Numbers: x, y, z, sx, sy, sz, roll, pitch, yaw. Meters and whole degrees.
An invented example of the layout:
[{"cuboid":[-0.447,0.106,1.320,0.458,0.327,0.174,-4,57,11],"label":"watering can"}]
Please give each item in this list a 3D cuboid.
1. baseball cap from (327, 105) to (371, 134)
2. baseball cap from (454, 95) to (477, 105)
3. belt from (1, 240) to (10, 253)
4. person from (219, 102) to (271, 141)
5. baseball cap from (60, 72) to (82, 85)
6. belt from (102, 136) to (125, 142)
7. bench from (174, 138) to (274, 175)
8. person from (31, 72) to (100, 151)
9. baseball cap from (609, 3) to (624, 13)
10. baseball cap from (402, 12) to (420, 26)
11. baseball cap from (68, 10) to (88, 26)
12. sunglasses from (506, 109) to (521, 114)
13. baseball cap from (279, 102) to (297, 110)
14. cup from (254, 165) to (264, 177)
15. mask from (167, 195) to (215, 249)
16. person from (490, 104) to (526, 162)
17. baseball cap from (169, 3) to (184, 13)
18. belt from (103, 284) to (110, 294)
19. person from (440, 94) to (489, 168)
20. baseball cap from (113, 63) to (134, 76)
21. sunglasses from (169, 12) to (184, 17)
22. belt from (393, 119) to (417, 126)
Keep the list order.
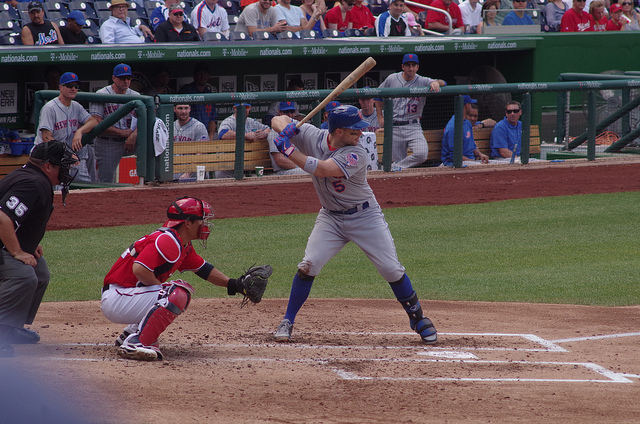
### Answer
[{"cuboid":[0.298,-0.989,10.798,0.528,0.220,0.346,2,13,15],"label":"baseball cap"},{"cuboid":[2.658,-1.999,18.671,0.142,0.172,0.429,3,10,21],"label":"baseball cap"},{"cuboid":[-3.062,0.346,10.221,0.080,0.068,0.055,-5,-22,-1],"label":"belt"},{"cuboid":[-1.237,-1.477,17.184,0.845,0.642,0.371,-8,12,-38],"label":"person"},{"cuboid":[-3.766,-2.016,15.819,0.291,0.135,0.198,-5,-1,27],"label":"baseball cap"},{"cuboid":[-3.236,-1.141,16.456,0.344,0.077,0.050,-1,10,-2],"label":"belt"},{"cuboid":[-1.570,-0.907,17.126,1.792,0.558,0.158,-6,11,-31],"label":"bench"},{"cuboid":[-3.863,-1.521,16.061,0.898,1.187,0.594,-6,11,-26],"label":"person"},{"cuboid":[6.339,-4.352,22.449,0.287,0.194,0.431,1,9,14],"label":"baseball cap"},{"cuboid":[1.786,-3.785,20.644,0.322,0.163,0.212,32,31,11],"label":"baseball cap"},{"cuboid":[-4.131,-3.259,17.851,0.411,0.192,0.249,19,20,-3],"label":"baseball cap"},{"cuboid":[3.461,-1.799,18.841,0.225,0.083,0.127,0,9,4],"label":"sunglasses"},{"cuboid":[-0.527,-1.743,17.293,0.269,0.113,0.233,-3,9,-14],"label":"baseball cap"},{"cuboid":[-1.022,-0.671,17.502,0.185,0.168,0.169,0,4,0],"label":"cup"},{"cuboid":[-1.320,0.099,10.442,0.547,0.494,0.445,3,6,-11],"label":"mask"},{"cuboid":[3.487,-1.443,19.180,0.584,1.073,0.679,-5,10,-21],"label":"person"},{"cuboid":[-2.481,-3.493,18.106,0.255,0.169,0.352,-4,17,-23],"label":"baseball cap"},{"cuboid":[-2.104,0.750,10.328,0.059,0.078,0.083,-3,10,-12],"label":"belt"},{"cuboid":[2.550,-1.469,18.875,0.859,1.295,0.412,-8,12,-37],"label":"person"},{"cuboid":[-3.061,-2.199,16.288,0.221,0.171,0.248,-5,10,-25],"label":"baseball cap"},{"cuboid":[-2.430,-3.391,18.062,0.097,0.060,0.154,-4,7,-38],"label":"sunglasses"},{"cuboid":[1.485,-1.549,18.226,0.417,0.104,0.040,-2,10,-8],"label":"belt"}]
